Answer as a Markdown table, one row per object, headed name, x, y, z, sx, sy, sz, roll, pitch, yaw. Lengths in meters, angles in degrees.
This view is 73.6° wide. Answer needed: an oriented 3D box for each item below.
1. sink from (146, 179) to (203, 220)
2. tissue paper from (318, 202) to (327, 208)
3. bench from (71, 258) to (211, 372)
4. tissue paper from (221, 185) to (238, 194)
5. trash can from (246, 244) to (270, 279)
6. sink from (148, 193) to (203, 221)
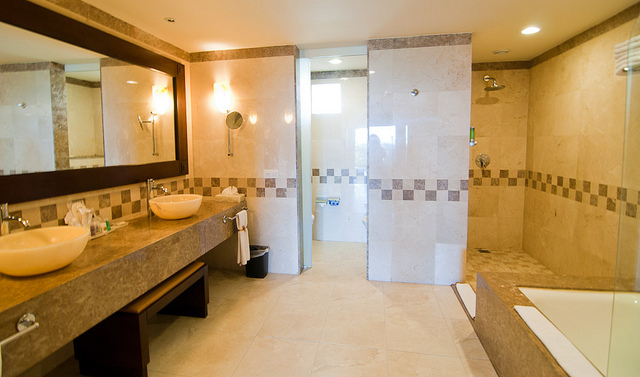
| name | x | y | z | sx | sy | sz | roll | pitch | yaw |
| --- | --- | --- | --- | --- | --- | --- | --- | --- | --- |
| sink | -1.803 | 0.124 | 5.202 | 0.729 | 0.438 | 0.577 | 3 | 10 | 18 |
| tissue paper | 0.045 | 0.264 | 7.069 | 0.134 | 0.072 | 0.069 | 0 | 6 | 6 |
| bench | -1.909 | 1.068 | 4.612 | 1.001 | 0.729 | 1.611 | 0 | 4 | 9 |
| tissue paper | -1.230 | 0.032 | 5.863 | 0.119 | 0.045 | 0.118 | -18 | 41 | -25 |
| trash can | -0.875 | 0.995 | 5.966 | 0.319 | 0.333 | 0.308 | 4 | 8 | 28 |
| sink | -1.778 | 0.232 | 5.234 | 0.574 | 0.257 | 0.627 | -3 | 6 | -22 |
